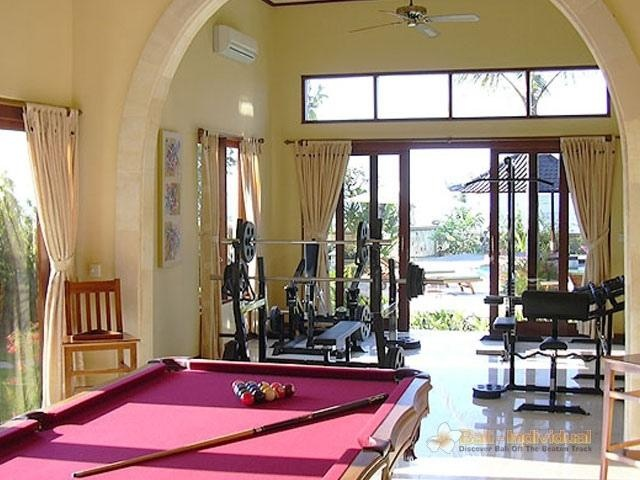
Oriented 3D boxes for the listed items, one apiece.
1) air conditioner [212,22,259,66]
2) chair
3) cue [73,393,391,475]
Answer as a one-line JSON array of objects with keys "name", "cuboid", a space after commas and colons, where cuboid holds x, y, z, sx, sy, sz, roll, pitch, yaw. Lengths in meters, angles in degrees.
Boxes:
[{"name": "air conditioner", "cuboid": [-1.099, -2.571, 7.159, 0.210, 0.348, 0.727, 3, 6, 26]}, {"name": "chair", "cuboid": [-1.900, 0.746, 4.630, 0.623, 1.240, 0.626, 1, -1, -28]}, {"name": "cue", "cuboid": [-0.305, 0.874, 2.484, 1.504, 0.047, 0.083, -3, 7, -29]}]
